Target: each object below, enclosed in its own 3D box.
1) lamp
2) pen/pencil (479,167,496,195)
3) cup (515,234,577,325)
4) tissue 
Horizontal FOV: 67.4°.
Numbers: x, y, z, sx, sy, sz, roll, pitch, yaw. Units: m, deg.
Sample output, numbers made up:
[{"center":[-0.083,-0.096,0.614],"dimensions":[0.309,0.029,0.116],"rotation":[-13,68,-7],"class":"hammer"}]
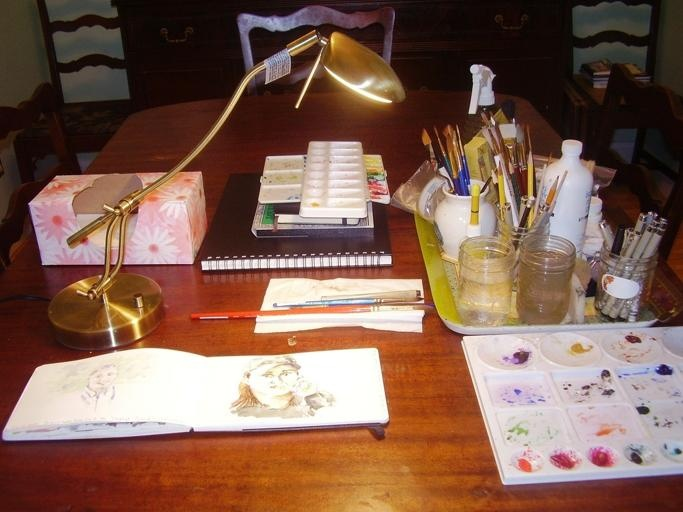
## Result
[{"center":[-0.212,-0.119,0.916],"dimensions":[0.626,0.505,0.185],"rotation":[-7,31,-17],"class":"lamp"},{"center":[0.301,-0.158,1.061],"dimensions":[0.015,0.011,0.095],"rotation":[-22,25,53],"class":"pen/pencil"},{"center":[0.354,0.045,0.884],"dimensions":[0.091,0.133,0.087],"rotation":[-5,30,3],"class":"cup"},{"center":[-0.456,-0.056,1.086],"dimensions":[0.379,0.181,0.191],"rotation":[-1,36,-1],"class":"tissue "}]
